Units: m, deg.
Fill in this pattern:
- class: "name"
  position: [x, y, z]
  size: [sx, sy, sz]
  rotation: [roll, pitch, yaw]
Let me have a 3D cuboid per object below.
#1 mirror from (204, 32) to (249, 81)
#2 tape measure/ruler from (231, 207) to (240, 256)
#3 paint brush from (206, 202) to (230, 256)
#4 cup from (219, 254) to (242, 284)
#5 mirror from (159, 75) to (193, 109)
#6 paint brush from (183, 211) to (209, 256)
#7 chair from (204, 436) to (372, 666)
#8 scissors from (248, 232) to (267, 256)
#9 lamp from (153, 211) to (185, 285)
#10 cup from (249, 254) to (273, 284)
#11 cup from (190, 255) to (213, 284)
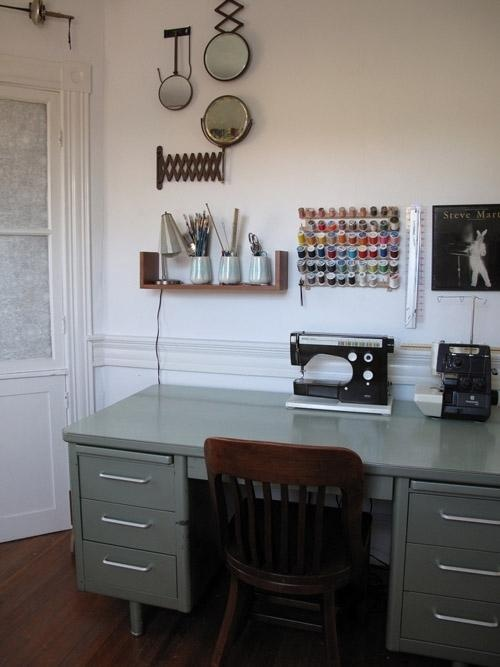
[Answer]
- class: "mirror"
  position: [-0.092, -1.070, 2.133]
  size: [0.175, 0.204, 0.020]
  rotation: [15, 1, 9]
- class: "tape measure/ruler"
  position: [-0.059, -0.400, 2.187]
  size: [0.033, 0.185, 0.094]
  rotation: [0, 9, 0]
- class: "paint brush"
  position: [-0.129, -0.434, 2.246]
  size: [0.030, 0.232, 0.030]
  rotation: [-13, 13, 32]
- class: "cup"
  position: [-0.082, -0.249, 2.154]
  size: [0.081, 0.107, 0.111]
  rotation: [0, 1, -2]
- class: "mirror"
  position: [-0.293, -0.965, 2.226]
  size: [0.127, 0.147, 0.019]
  rotation: [4, 10, 20]
- class: "paint brush"
  position: [-0.227, -0.402, 2.246]
  size: [0.120, 0.178, 0.113]
  rotation: [2, 10, 13]
- class: "chair"
  position: [0.109, 0.600, 1.638]
  size: [0.464, 0.783, 0.554]
  rotation: [2, 10, 11]
- class: "scissors"
  position: [0.027, -0.348, 2.168]
  size: [0.055, 0.099, 0.026]
  rotation: [5, -28, -39]
- class: "lamp"
  position: [-0.327, -0.342, 2.256]
  size: [0.109, 0.283, 0.187]
  rotation: [-1, 10, -9]
- class: "cup"
  position: [0.040, -0.241, 2.110]
  size: [0.087, 0.108, 0.113]
  rotation: [-1, 2, -2]
- class: "cup"
  position: [-0.192, -0.254, 2.225]
  size: [0.097, 0.110, 0.077]
  rotation: [-3, 10, -19]
